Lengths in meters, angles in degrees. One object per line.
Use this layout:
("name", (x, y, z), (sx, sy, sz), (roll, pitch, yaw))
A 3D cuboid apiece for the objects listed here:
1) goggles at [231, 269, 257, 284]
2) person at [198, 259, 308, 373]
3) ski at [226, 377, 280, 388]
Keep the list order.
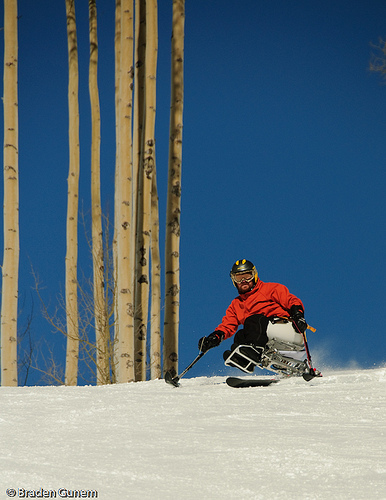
("goggles", (0.482, 0.236, 10.137), (0.237, 0.120, 0.176), (-4, -27, 2))
("person", (0.550, 0.659, 10.008), (0.850, 1.378, 0.700), (9, -44, -15))
("ski", (0.528, 1.157, 9.433), (0.442, 0.085, 0.132), (0, -15, -24))
